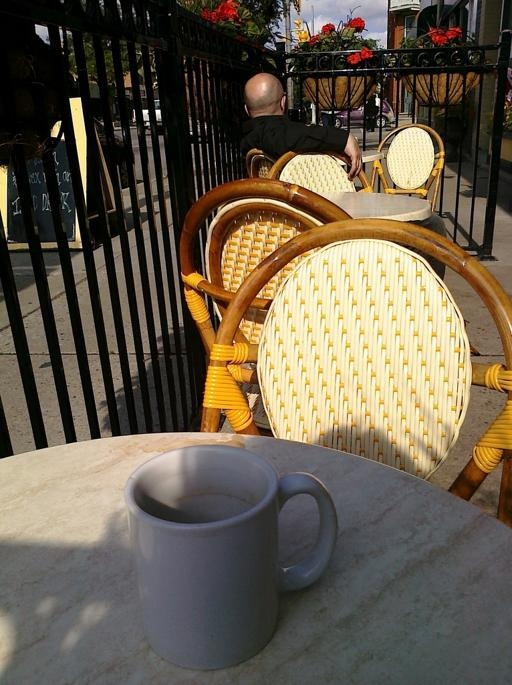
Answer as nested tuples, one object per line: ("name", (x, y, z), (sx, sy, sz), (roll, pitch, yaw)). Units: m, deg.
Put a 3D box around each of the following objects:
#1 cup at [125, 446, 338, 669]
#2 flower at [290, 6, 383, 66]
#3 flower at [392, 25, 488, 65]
("cup", (-0.005, 0.167, 0.421), (0.156, 0.130, 0.102), (-5, 17, -15))
("flower", (1.294, -4.711, 7.910), (0.796, 0.442, 0.758), (-13, 29, 39))
("flower", (2.238, -3.481, 6.050), (0.784, 0.501, 2.999), (8, 28, 19))
